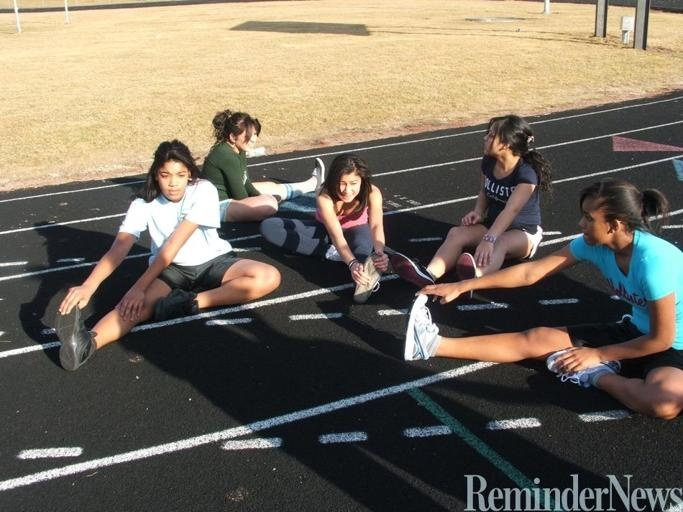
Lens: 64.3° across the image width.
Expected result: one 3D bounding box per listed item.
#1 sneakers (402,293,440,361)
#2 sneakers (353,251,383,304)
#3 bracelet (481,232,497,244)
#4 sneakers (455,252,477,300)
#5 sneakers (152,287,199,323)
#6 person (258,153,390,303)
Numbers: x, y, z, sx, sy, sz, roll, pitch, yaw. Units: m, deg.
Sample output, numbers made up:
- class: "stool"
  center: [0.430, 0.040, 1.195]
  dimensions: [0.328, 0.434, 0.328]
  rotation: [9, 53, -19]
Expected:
- class: "sneakers"
  center: [0.594, 0.556, 4.100]
  dimensions: [0.324, 0.527, 0.204]
  rotation: [9, 12, 10]
- class: "sneakers"
  center: [0.267, 0.188, 4.794]
  dimensions: [0.239, 0.418, 0.180]
  rotation: [26, -11, -35]
- class: "bracelet"
  center: [1.306, -0.152, 4.844]
  dimensions: [0.146, 0.073, 0.119]
  rotation: [0, -14, 23]
- class: "sneakers"
  center: [1.059, 0.169, 4.680]
  dimensions: [0.160, 0.398, 0.186]
  rotation: [20, 40, 41]
- class: "sneakers"
  center: [-1.375, 0.408, 4.602]
  dimensions: [0.412, 0.150, 0.245]
  rotation: [-15, 4, -40]
- class: "person"
  center: [-0.154, -0.391, 5.194]
  dimensions: [1.389, 0.879, 1.537]
  rotation: [5, 17, 7]
